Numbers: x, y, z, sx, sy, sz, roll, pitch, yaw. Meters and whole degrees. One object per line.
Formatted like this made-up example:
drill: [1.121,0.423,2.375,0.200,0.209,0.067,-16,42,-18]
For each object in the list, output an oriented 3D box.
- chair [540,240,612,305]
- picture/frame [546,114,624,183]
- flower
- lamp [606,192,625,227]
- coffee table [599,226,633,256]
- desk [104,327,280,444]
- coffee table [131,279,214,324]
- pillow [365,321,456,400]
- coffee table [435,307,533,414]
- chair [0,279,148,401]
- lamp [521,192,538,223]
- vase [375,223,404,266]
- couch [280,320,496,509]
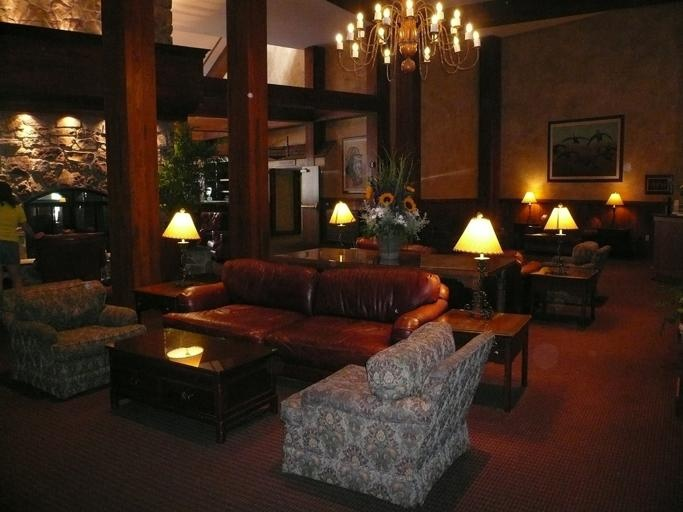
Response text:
chair: [3.326,0.233,7.780,0.964,1.174,0.870,1,3,35]
picture/frame: [5.624,-2.513,12.682,1.688,1.513,0.180,10,16,37]
flower: [0.586,-0.639,6.289,0.688,0.972,0.479,0,13,3]
lamp: [6.074,-1.060,12.240,0.329,0.747,0.438,7,15,30]
coffee table: [5.757,-0.318,11.520,0.607,0.639,0.428,0,4,29]
desk: [-1.134,0.844,4.687,1.182,0.579,0.742,4,7,29]
coffee table: [-1.971,0.424,6.298,0.516,0.615,0.629,6,13,29]
pillow: [0.483,0.716,3.733,0.327,0.320,0.713,8,16,32]
coffee table: [1.257,0.816,5.019,0.828,0.832,0.780,1,5,35]
chair: [-2.576,0.723,5.361,1.226,0.941,0.934,8,11,33]
lamp: [4.569,-1.216,13.427,0.361,0.764,0.435,4,14,19]
vase: [0.584,-0.124,6.285,0.368,0.445,0.387,2,6,8]
couch: [0.351,1.000,3.894,1.146,1.014,1.157,6,10,35]
